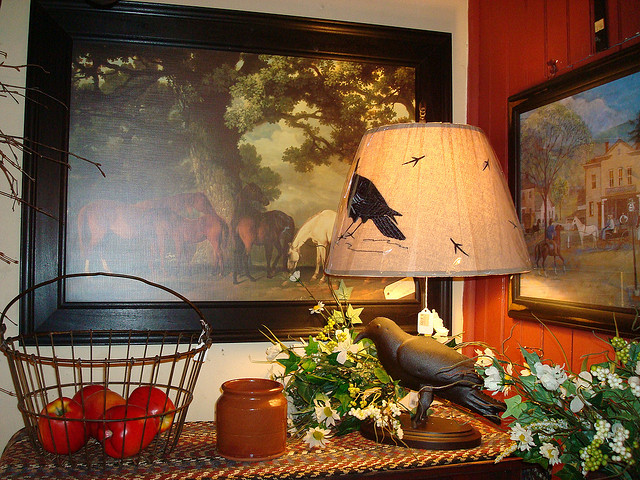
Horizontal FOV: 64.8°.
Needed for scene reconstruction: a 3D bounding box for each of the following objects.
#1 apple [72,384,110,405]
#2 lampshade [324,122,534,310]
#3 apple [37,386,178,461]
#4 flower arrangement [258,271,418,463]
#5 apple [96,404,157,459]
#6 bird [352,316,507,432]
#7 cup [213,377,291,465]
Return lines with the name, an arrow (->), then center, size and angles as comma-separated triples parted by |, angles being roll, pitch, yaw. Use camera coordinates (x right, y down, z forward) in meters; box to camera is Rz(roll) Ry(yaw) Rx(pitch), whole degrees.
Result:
apple -> -0.561, 0.387, 1.245 | 0.065, 0.038, 0.051 | -4, -4, 1
lampshade -> 0.268, -0.029, 1.344 | 0.503, 0.538, 0.511 | 0, 9, 16
apple -> -0.481, 0.396, 1.204 | 0.266, 0.102, 0.200 | 0, -38, -12
flower arrangement -> 0.101, 0.383, 1.450 | 0.372, 0.578, 0.458 | -14, -21, 31
apple -> -0.450, 0.447, 1.173 | 0.145, 0.133, 0.107 | -1, 1, -10
bird -> 0.275, 0.344, 1.289 | 0.221, 0.269, 0.345 | -1, 2, -34
cup -> -0.167, 0.450, 1.260 | 0.178, 0.174, 0.178 | 0, -10, 0
